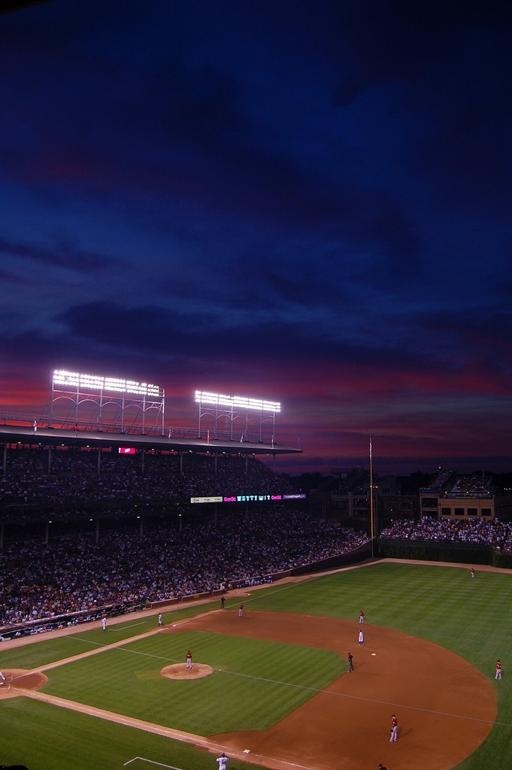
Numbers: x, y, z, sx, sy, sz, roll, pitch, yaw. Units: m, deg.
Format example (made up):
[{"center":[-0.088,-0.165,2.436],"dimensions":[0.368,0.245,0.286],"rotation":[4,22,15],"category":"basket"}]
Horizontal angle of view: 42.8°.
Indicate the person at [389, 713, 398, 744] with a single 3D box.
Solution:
[{"center":[5.660,14.119,27.218],"dimensions":[0.384,1.009,1.689],"rotation":[-1,-6,11],"category":"person"}]
